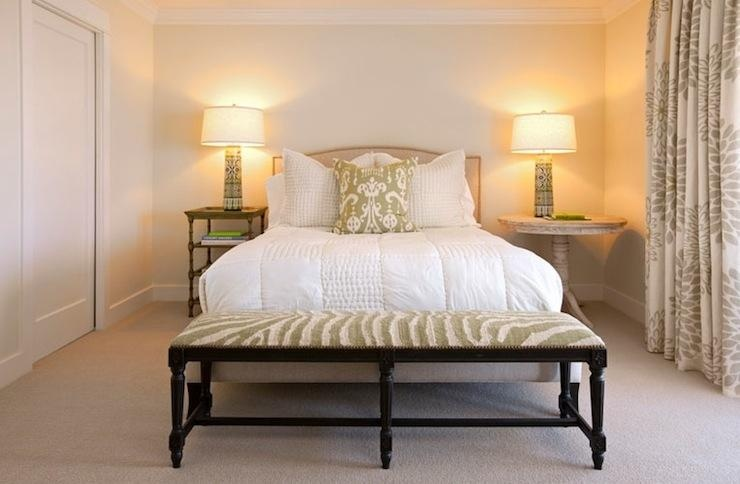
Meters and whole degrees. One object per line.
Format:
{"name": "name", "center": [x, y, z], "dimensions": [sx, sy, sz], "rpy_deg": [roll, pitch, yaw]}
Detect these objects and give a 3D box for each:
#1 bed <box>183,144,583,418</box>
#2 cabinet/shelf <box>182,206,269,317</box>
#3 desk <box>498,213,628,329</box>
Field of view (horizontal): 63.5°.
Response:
{"name": "bed", "center": [0.110, 0.259, 4.310], "dimensions": [2.013, 1.223, 1.991], "rpy_deg": [0, 4, 1]}
{"name": "cabinet/shelf", "center": [-1.504, 0.027, 6.082], "dimensions": [0.778, 0.839, 1.102], "rpy_deg": [15, 6, -21]}
{"name": "desk", "center": [1.826, 0.238, 5.657], "dimensions": [1.157, 0.998, 1.190], "rpy_deg": [-6, 8, -2]}
